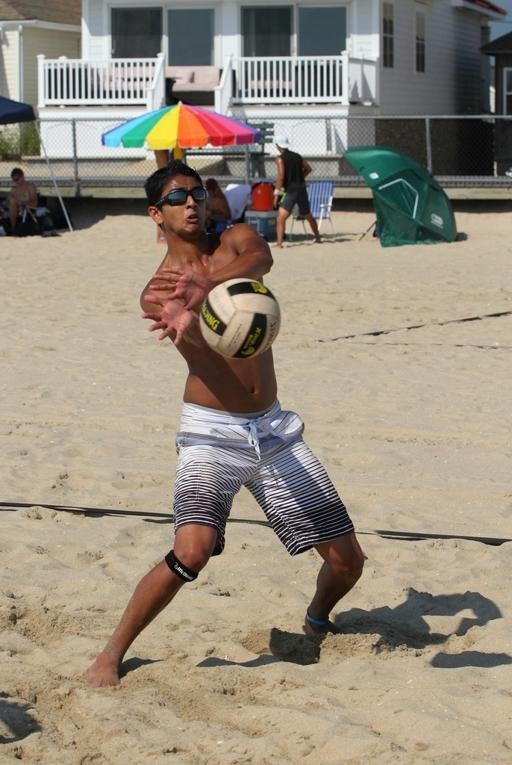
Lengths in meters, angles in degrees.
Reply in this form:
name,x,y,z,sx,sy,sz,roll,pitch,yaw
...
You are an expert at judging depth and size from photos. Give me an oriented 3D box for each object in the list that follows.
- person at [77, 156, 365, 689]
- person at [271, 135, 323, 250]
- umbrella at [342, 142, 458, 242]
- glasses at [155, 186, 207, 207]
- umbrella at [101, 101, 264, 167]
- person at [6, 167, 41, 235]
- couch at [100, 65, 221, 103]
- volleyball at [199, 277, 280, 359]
name,x,y,z,sx,sy,sz,roll,pitch,yaw
person,-0.141,0.106,3.243,1.046,1.747,0.549,-5,9,-38
person,0.481,-2.909,14.412,0.926,1.526,0.526,1,2,18
umbrella,2.255,-2.954,15.064,1.887,1.436,1.564,4,13,19
glasses,-0.249,-0.633,3.222,0.092,0.032,0.107,-12,2,-32
umbrella,-1.053,-3.335,12.952,2.406,0.688,2.221,-1,7,0
person,-4.038,-3.071,16.237,0.546,1.179,0.467,4,19,2
couch,-1.412,-7.014,20.663,2.432,0.830,1.020,0,11,3
volleyball,-0.031,-0.179,2.932,0.235,0.237,0.216,-5,31,-14
